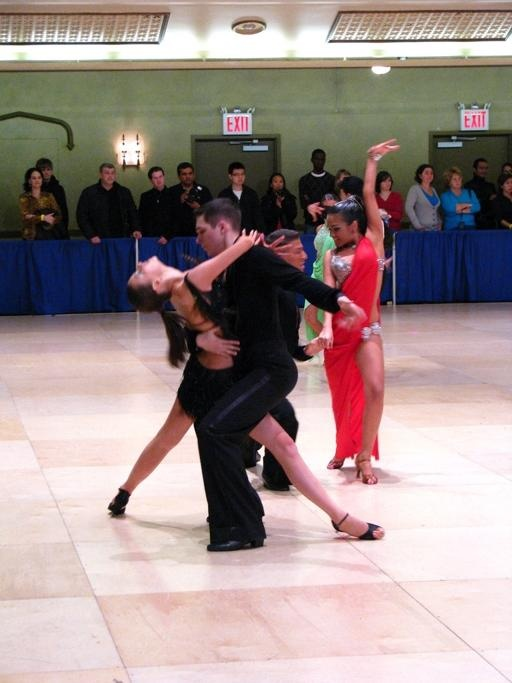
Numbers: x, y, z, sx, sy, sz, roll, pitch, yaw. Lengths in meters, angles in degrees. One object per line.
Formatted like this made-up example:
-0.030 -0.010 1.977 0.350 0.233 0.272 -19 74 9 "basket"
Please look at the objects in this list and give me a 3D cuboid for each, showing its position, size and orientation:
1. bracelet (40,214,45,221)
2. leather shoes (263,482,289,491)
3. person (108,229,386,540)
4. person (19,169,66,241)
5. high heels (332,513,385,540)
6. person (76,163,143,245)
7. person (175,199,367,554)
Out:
-3.693 -2.141 10.820 0.036 0.084 0.094 3 -7 -13 "bracelet"
0.104 0.733 3.172 0.122 0.074 0.040 -7 -9 40 "leather shoes"
-0.145 0.184 2.501 1.401 1.147 0.481 -1 12 28 "person"
-3.780 -2.395 10.953 0.675 1.203 0.522 -4 12 -15 "person"
0.396 0.713 2.369 0.222 0.050 0.091 14 20 -7 "high heels"
-2.642 -2.444 11.064 1.042 1.320 0.509 -4 12 -16 "person"
0.059 0.119 2.303 0.580 1.283 0.537 -2 11 -5 "person"
